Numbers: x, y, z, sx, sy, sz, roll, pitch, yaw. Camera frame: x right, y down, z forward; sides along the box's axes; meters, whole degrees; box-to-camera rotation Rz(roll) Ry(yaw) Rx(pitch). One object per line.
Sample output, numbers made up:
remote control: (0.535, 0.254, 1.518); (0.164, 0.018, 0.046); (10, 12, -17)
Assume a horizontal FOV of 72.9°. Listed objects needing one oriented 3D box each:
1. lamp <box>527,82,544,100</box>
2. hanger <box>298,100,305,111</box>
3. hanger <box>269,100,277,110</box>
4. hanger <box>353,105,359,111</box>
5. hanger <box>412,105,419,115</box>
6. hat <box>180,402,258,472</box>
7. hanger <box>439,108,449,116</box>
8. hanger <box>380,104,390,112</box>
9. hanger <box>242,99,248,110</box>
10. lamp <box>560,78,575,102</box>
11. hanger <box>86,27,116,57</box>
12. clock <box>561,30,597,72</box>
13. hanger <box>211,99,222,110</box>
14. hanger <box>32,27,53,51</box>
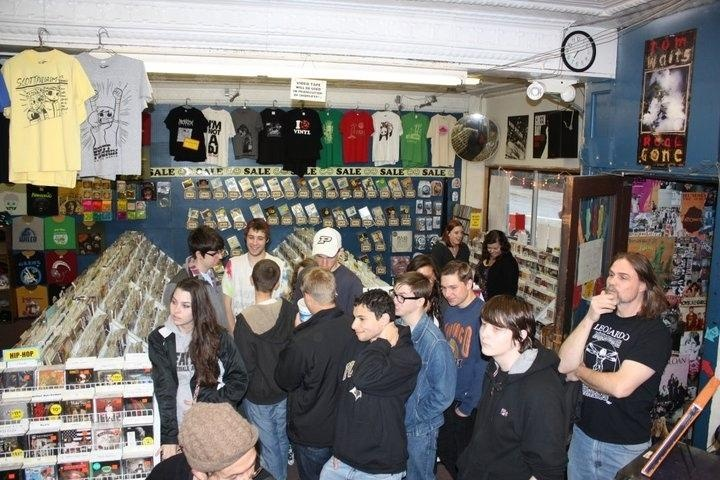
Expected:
lamp: (1.931, -1.663, 5.562); (0.214, 0.214, 0.052); (-5, 4, -8)
hanger: (-1.038, -2.368, 8.638); (0.089, 0.180, 0.284); (-2, 6, -6)
hanger: (-1.551, -2.389, 8.632); (0.175, 0.177, 0.158); (5, 25, 10)
hanger: (-0.098, -2.422, 8.993); (0.137, 0.124, 0.034); (1, 4, 20)
hanger: (1.012, -2.458, 9.191); (0.113, 0.209, 0.115); (-3, 9, -9)
hat: (-0.761, 1.048, 2.584); (0.375, 0.304, 0.202); (-2, -39, 31)
hanger: (1.582, -2.438, 9.349); (0.231, 0.125, 0.072); (-3, 6, -11)
hanger: (0.445, -2.470, 9.093); (0.146, 0.130, 0.034); (-2, 6, -4)
hanger: (-2.041, -2.391, 8.615); (0.189, 0.210, 0.010); (6, 22, 15)
lamp: (2.375, -1.702, 5.640); (0.153, 0.226, 0.254); (1, 6, 22)
hanger: (-2.481, -1.905, 4.671); (0.313, 0.214, 0.007); (4, 27, -3)
clock: (2.374, -2.084, 5.338); (0.426, 0.475, 0.052); (1, 5, -4)
hanger: (-2.522, -2.384, 8.575); (0.158, 0.157, 0.037); (-2, 6, 0)
hanger: (-2.907, -1.840, 4.478); (0.140, 0.260, 0.258); (-5, 7, -32)
